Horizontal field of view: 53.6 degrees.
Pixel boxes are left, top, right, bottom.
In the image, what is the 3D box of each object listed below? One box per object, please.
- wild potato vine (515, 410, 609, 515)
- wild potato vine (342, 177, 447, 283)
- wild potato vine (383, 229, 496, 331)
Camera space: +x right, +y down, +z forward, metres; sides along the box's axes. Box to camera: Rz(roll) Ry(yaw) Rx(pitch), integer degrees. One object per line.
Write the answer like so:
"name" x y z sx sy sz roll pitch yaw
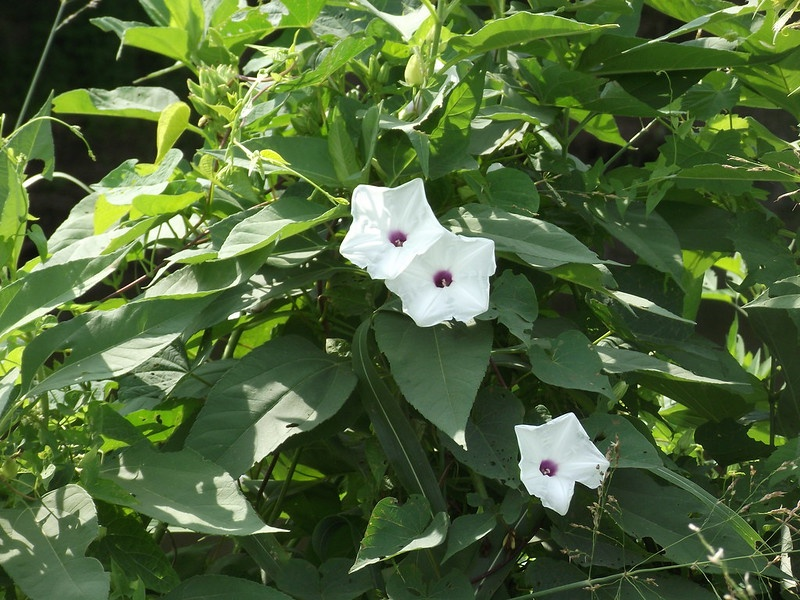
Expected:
"wild potato vine" 0.187 0.179 0.863 0.078 0.111 0.116 -7 14 28
"wild potato vine" -0.009 -0.080 0.876 0.129 0.036 0.122 -6 -26 9
"wild potato vine" 0.057 -0.019 0.831 0.126 0.098 0.044 -27 -21 6
